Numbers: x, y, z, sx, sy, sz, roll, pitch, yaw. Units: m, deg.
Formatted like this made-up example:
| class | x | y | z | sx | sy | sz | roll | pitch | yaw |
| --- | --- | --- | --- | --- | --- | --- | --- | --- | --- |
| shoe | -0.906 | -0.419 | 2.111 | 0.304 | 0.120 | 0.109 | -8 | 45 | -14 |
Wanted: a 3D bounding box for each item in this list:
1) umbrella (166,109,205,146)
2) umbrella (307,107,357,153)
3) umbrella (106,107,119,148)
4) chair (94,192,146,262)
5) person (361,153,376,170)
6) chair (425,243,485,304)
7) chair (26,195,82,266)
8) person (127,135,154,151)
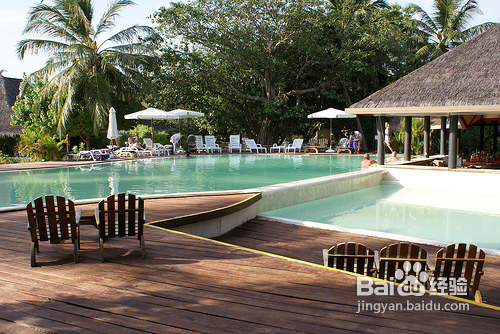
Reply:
| class | x | y | z | sx | sy | sz | roll | pitch | yaw |
| --- | --- | --- | --- | --- | --- | --- | --- | --- | --- |
| umbrella | -4.457 | -2.784 | 26.554 | 2.793 | 1.822 | 2.818 | -3 | 8 | -33 |
| umbrella | 5.940 | -2.572 | 27.817 | 4.001 | 3.122 | 3.832 | -2 | 13 | -10 |
| umbrella | -8.095 | -2.598 | 21.754 | 0.522 | 1.905 | 1.480 | -2 | 8 | -21 |
| chair | -2.110 | 0.925 | 6.095 | 0.845 | 0.974 | 1.092 | -2 | 0 | -29 |
| person | 5.200 | -0.241 | 16.288 | 0.527 | 0.688 | 1.456 | 3 | 7 | 12 |
| chair | 3.020 | 1.593 | 5.558 | 0.741 | 0.696 | 0.959 | 4 | -16 | 10 |
| chair | -3.057 | 0.963 | 5.865 | 0.804 | 0.884 | 1.027 | -3 | -5 | -18 |
| person | -7.110 | -1.501 | 24.038 | 1.026 | 1.025 | 2.200 | 6 | 12 | 25 |
